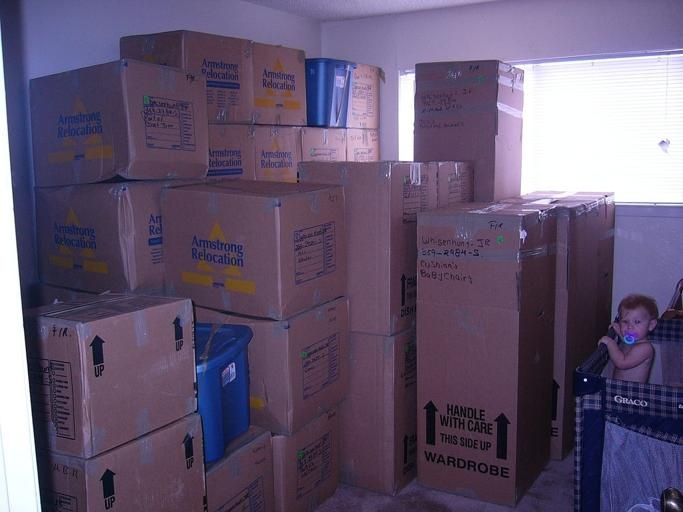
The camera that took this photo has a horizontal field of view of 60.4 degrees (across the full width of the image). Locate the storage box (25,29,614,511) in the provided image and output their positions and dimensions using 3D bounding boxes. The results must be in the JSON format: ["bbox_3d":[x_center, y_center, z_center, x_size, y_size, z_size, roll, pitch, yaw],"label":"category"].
[{"bbox_3d":[0.109,-0.019,3.238,2.334,2.007,2.485,6,15,27],"label":"storage box"}]
